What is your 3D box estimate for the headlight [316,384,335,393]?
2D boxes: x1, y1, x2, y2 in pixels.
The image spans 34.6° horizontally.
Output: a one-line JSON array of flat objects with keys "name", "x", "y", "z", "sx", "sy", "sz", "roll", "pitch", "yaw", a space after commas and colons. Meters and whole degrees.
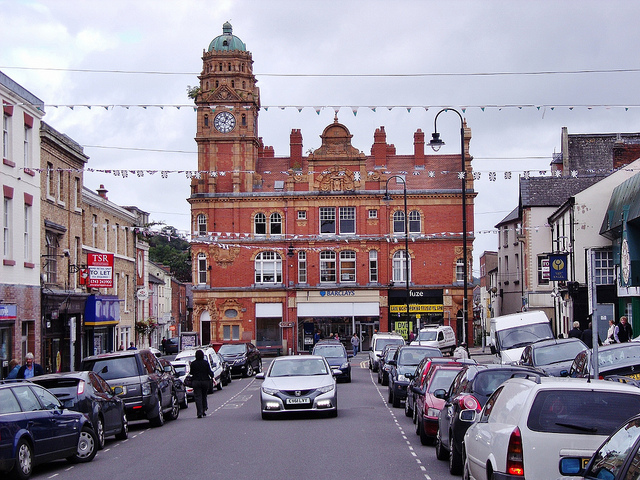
[{"name": "headlight", "x": 0.187, "y": 4.405, "z": 29.954, "sx": 0.184, "sy": 0.219, "sz": 0.673, "roll": -11, "pitch": -12, "yaw": 40}]

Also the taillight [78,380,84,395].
[{"name": "taillight", "x": -5.996, "y": 3.755, "z": 25.840, "sx": 0.142, "sy": 0.369, "sz": 0.233, "roll": -1, "pitch": -9, "yaw": -14}]

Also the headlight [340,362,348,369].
[{"name": "headlight", "x": 1.058, "y": 5.427, "z": 43.771, "sx": 0.169, "sy": 0.234, "sz": 0.089, "roll": 15, "pitch": -9, "yaw": -23}]

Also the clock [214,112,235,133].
[{"name": "clock", "x": -6.757, "y": -8.361, "z": 73.242, "sx": 1.084, "sy": 1.126, "sz": 0.061, "roll": -31, "pitch": 12, "yaw": 18}]

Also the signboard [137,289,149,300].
[{"name": "signboard", "x": -10.384, "y": 3.360, "z": 59.977, "sx": 0.697, "sy": 0.748, "sz": 0.163, "roll": 1, "pitch": 4, "yaw": -26}]

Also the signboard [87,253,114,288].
[{"name": "signboard", "x": -10.195, "y": 1.476, "z": 47.595, "sx": 1.313, "sy": 1.643, "sz": 0.151, "roll": 14, "pitch": -27, "yaw": -40}]

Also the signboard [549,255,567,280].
[{"name": "signboard", "x": 11.383, "y": 1.403, "z": 48.807, "sx": 0.964, "sy": 1.290, "sz": 0.982, "roll": -1, "pitch": -7, "yaw": 4}]

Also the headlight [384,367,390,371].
[{"name": "headlight", "x": 2.735, "y": 5.321, "z": 41.663, "sx": 0.142, "sy": 0.168, "sz": 0.180, "roll": 1, "pitch": 5, "yaw": -4}]
